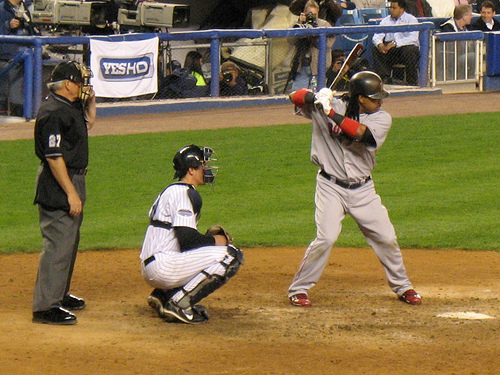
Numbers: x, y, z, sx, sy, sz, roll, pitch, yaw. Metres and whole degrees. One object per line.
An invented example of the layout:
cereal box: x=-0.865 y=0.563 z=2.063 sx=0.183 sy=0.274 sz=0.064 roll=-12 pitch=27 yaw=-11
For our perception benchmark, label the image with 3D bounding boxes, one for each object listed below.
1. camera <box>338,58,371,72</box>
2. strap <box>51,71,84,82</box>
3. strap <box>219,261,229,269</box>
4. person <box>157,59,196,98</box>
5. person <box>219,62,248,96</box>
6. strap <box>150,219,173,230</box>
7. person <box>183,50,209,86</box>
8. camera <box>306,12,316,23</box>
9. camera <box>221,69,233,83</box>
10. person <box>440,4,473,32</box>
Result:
camera: x=2.476 y=-2.697 z=22.299 sx=0.411 sy=0.279 sz=0.848 roll=1 pitch=8 yaw=6
strap: x=-2.067 y=-1.248 z=11.471 sx=0.354 sy=0.105 sz=0.129 roll=-1 pitch=8 yaw=-10
strap: x=-0.289 y=0.867 z=11.416 sx=0.055 sy=0.070 sz=0.070 roll=-37 pitch=49 yaw=-5
person: x=-1.440 y=-2.186 z=20.413 sx=0.699 sy=0.743 sz=0.984 roll=1 pitch=8 yaw=7
person: x=-0.373 y=-2.219 z=20.754 sx=0.460 sy=0.685 sz=0.695 roll=2 pitch=8 yaw=11
strap: x=-1.004 y=0.404 z=11.401 sx=0.162 sy=0.049 sz=0.109 roll=17 pitch=-3 yaw=-6
person: x=-1.093 y=-2.402 z=20.762 sx=0.484 sy=0.716 sz=0.344 roll=-30 pitch=-16 yaw=38
camera: x=1.241 y=-3.414 z=20.575 sx=0.285 sy=0.245 sz=0.163 roll=2 pitch=-18 yaw=-1
camera: x=-0.446 y=-2.258 z=20.582 sx=0.240 sy=0.271 sz=0.300 roll=4 pitch=9 yaw=25
person: x=4.596 y=-3.718 z=22.390 sx=0.640 sy=0.592 sz=0.975 roll=1 pitch=8 yaw=9
